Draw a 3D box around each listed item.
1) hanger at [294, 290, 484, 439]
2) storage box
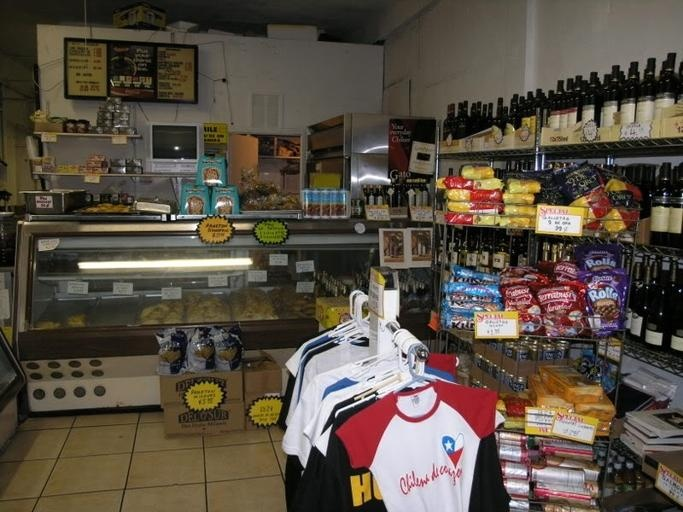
[{"bbox_3d":[0.039,0.472,2.270,0.651,0.336,0.759,-6,10,-18],"label":"hanger"},{"bbox_3d":[-0.970,1.093,3.836,0.814,0.447,0.556,-2,3,-18],"label":"storage box"}]
